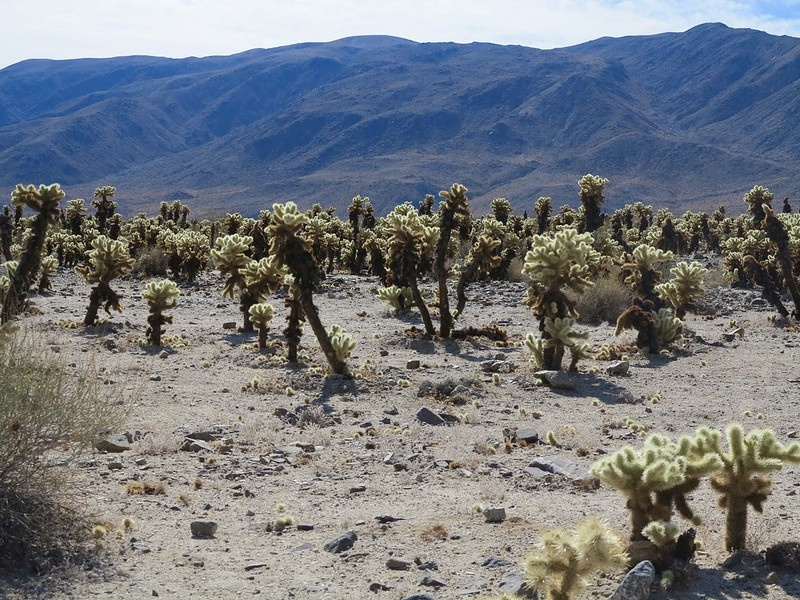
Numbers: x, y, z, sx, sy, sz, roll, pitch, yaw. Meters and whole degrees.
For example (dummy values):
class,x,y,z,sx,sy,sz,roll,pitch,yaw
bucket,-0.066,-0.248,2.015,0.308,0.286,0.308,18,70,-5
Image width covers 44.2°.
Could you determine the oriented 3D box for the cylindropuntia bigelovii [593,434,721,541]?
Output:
class,x,y,z,sx,sy,sz,roll,pitch,yaw
cylindropuntia bigelovii,2.605,2.011,10.476,0.830,0.858,0.831,0,-3,22
